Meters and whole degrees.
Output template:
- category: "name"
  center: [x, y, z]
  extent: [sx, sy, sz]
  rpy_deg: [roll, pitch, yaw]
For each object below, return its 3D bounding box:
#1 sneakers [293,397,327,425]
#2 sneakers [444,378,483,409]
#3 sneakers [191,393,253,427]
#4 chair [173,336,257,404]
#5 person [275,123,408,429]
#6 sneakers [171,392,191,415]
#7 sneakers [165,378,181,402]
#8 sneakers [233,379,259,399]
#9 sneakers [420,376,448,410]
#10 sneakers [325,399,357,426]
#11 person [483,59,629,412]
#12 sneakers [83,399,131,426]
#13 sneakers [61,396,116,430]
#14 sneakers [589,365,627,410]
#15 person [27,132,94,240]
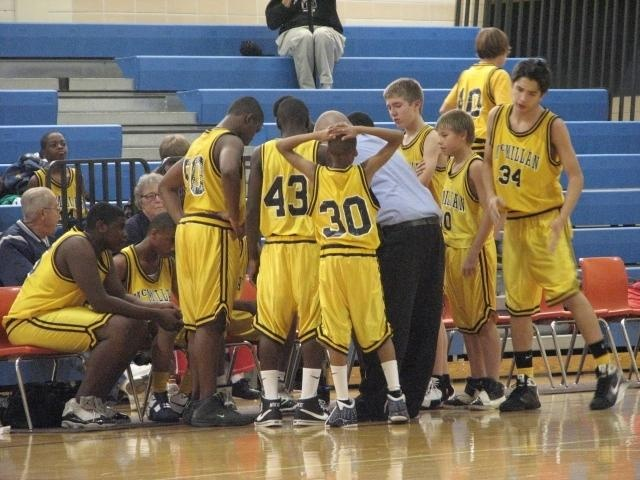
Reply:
- category: "sneakers"
  center: [-0.023, 1.090, 6.100]
  extent: [0.101, 0.155, 0.297]
  rpy_deg: [-3, -4, 45]
- category: "sneakers"
  center: [1.036, 1.079, 6.771]
  extent: [0.314, 0.220, 0.129]
  rpy_deg: [0, -3, 21]
- category: "sneakers"
  center: [-0.661, 1.115, 6.236]
  extent: [0.459, 0.252, 0.177]
  rpy_deg: [1, -3, -4]
- category: "chair"
  center: [-0.772, 0.972, 7.168]
  extent: [0.696, 0.568, 0.501]
  rpy_deg: [2, -7, -26]
- category: "person"
  center: [0.170, 0.217, 5.971]
  extent: [0.739, 1.910, 0.249]
  rpy_deg: [-1, -1, 4]
- category: "sneakers"
  center: [-0.992, 1.174, 6.813]
  extent: [0.159, 0.172, 0.121]
  rpy_deg: [8, -10, 10]
- category: "sneakers"
  center: [-1.122, 1.131, 7.247]
  extent: [0.080, 0.113, 0.250]
  rpy_deg: [0, -2, -1]
- category: "sneakers"
  center: [-0.594, 1.189, 7.560]
  extent: [0.256, 0.179, 0.109]
  rpy_deg: [0, 0, 5]
- category: "sneakers"
  center: [0.820, 1.083, 6.716]
  extent: [0.321, 0.250, 0.117]
  rpy_deg: [3, -12, -40]
- category: "sneakers"
  center: [0.152, 1.087, 5.956]
  extent: [0.113, 0.160, 0.217]
  rpy_deg: [1, -4, -32]
- category: "person"
  center: [1.542, -0.035, 6.405]
  extent: [0.812, 2.371, 0.388]
  rpy_deg: [-1, -1, 13]
- category: "sneakers"
  center: [-1.428, 1.163, 6.447]
  extent: [0.119, 0.179, 0.370]
  rpy_deg: [-5, -5, 41]
- category: "sneakers"
  center: [-1.489, 1.155, 6.315]
  extent: [0.427, 0.233, 0.162]
  rpy_deg: [1, -3, -4]
- category: "sneakers"
  center: [1.939, 0.994, 6.402]
  extent: [0.281, 0.279, 0.172]
  rpy_deg: [0, -2, -43]
- category: "person"
  center: [-2.294, -0.487, 8.298]
  extent: [0.517, 0.947, 0.475]
  rpy_deg: [1, -15, -39]
